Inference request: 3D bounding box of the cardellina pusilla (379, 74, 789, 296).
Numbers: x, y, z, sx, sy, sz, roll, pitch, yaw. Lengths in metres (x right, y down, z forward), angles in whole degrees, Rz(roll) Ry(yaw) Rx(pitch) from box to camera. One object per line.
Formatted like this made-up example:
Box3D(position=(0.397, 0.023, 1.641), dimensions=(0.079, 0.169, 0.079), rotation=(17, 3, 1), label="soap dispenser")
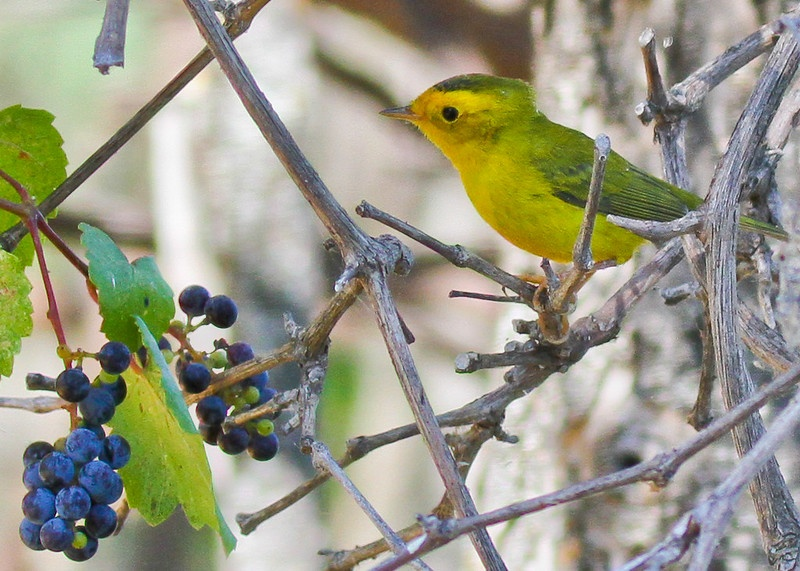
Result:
Box3D(position=(0.283, -0.247, 2.869), dimensions=(1.201, 0.651, 0.357), rotation=(0, -3, 0), label="cardellina pusilla")
